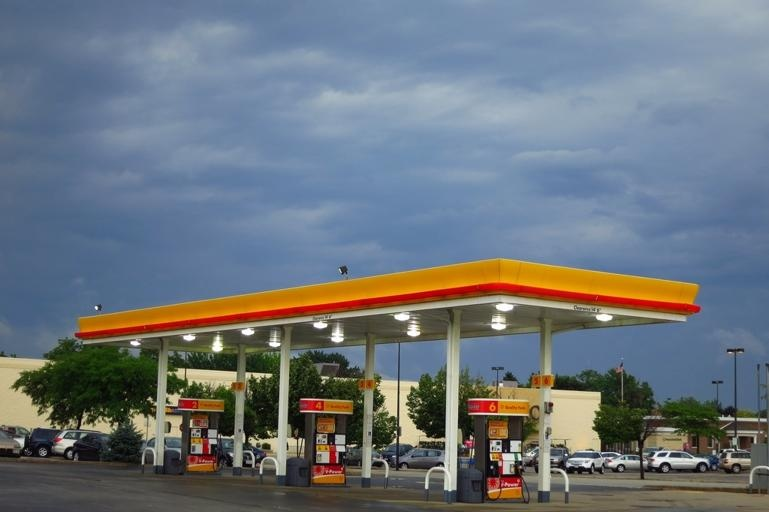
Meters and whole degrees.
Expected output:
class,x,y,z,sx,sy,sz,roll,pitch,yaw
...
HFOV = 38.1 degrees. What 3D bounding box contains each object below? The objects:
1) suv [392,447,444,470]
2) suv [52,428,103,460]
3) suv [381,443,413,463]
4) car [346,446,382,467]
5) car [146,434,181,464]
class,x,y,z,sx,sy,sz,roll,pitch,yaw
suv,2.692,16.220,87.943,3.974,1.649,2.044,1,-6,0
suv,-20.683,12.413,73.601,2.191,1.944,1.075,4,-13,-18
suv,0.785,17.261,97.260,2.191,1.678,3.471,-6,-19,15
car,-1.544,16.036,88.480,2.689,1.572,4.578,1,-12,-4
car,-13.373,12.136,71.100,1.900,1.333,3.898,6,-15,-36
